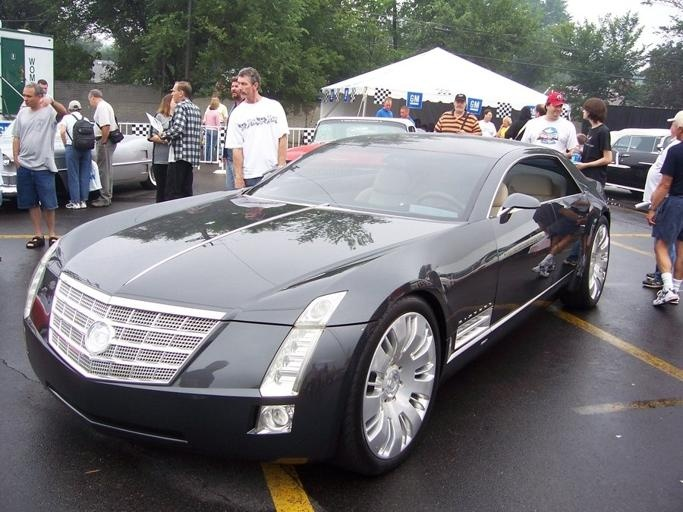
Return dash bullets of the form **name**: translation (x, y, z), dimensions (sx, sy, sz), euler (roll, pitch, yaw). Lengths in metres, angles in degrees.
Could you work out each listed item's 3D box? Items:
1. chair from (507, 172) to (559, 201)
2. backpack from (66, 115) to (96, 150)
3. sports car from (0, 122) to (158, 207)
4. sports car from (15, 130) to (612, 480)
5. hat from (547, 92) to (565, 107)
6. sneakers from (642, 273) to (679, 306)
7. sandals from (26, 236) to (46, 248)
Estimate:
- **chair**: translation (1.607, -0.539, 4.055), dimensions (0.360, 0.318, 0.360), euler (5, 10, -7)
- **backpack**: translation (-4.725, -2.261, 8.710), dimensions (0.362, 0.589, 0.576), euler (-8, 20, -41)
- **sports car**: translation (-5.191, -1.828, 9.739), dimensions (1.577, 0.968, 2.756), euler (7, 9, 39)
- **sports car**: translation (0.472, -0.132, 4.136), dimensions (2.290, 1.462, 4.944), euler (13, 20, 39)
- **hat**: translation (3.169, -2.363, 7.142), dimensions (0.231, 0.179, 0.335), euler (2, 20, 5)
- **sneakers**: translation (3.843, 0.422, 5.808), dimensions (0.221, 0.300, 0.663), euler (-2, 5, -3)
- **sandals**: translation (-4.195, -0.176, 6.598), dimensions (0.118, 0.128, 0.323), euler (3, 0, 3)
